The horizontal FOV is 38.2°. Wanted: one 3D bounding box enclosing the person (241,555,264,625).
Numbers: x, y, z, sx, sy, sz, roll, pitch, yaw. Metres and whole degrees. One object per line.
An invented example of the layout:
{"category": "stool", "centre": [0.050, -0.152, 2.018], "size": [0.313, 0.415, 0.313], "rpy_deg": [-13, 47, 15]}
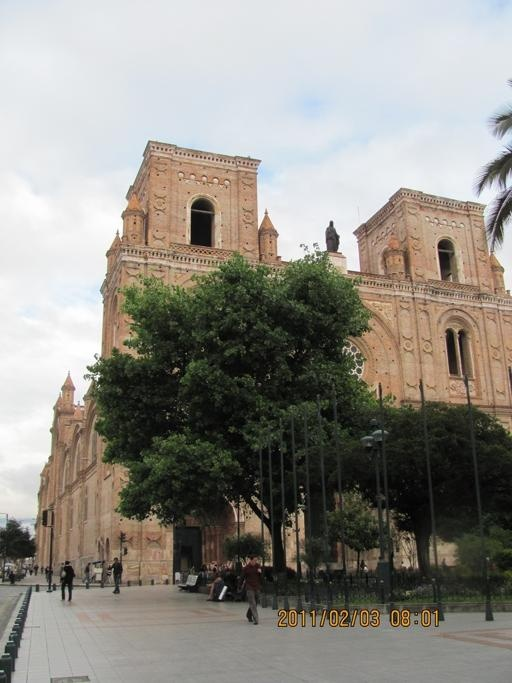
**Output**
{"category": "person", "centre": [-0.051, 4.888, 14.663], "size": [0.441, 1.292, 0.699], "rpy_deg": [5, -14, -23]}

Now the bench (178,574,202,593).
{"category": "bench", "centre": [-2.232, 8.503, 26.078], "size": [0.715, 0.701, 1.019], "rpy_deg": [14, -16, -24]}
